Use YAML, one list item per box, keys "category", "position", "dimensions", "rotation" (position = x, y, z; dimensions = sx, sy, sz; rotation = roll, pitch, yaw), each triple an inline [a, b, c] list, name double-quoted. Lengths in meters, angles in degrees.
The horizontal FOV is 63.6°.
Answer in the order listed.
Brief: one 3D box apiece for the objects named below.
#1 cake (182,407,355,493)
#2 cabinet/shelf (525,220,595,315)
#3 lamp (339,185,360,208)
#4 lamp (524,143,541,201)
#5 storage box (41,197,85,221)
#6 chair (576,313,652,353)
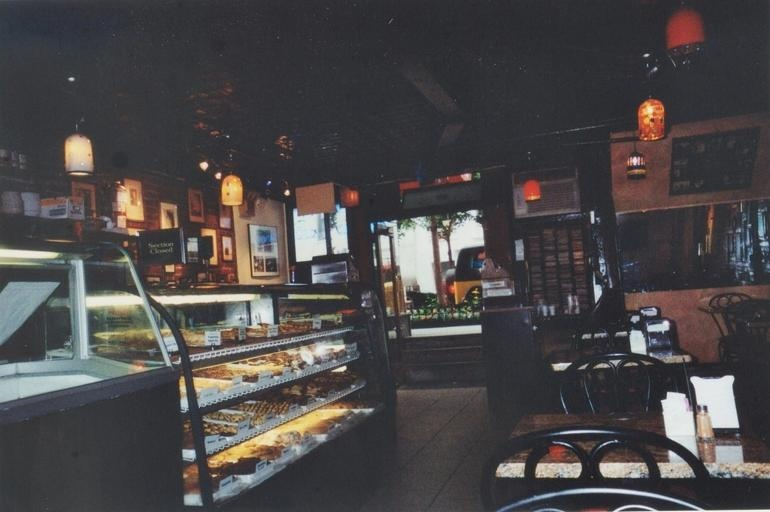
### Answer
- category: "cake"
  position: [-0.762, 1.441, 4.710]
  dimensions: [0.430, 0.305, 1.421]
  rotation: [-7, -2, 42]
- category: "cabinet/shelf"
  position: [2.903, 0.111, 10.174]
  dimensions: [1.074, 1.502, 1.117]
  rotation: [-5, 1, 0]
- category: "lamp"
  position: [-0.563, -0.905, 9.468]
  dimensions: [0.382, 0.293, 0.553]
  rotation: [-1, 2, -9]
- category: "lamp"
  position: [2.223, -1.189, 9.388]
  dimensions: [0.234, 0.751, 0.795]
  rotation: [-7, -1, 14]
- category: "storage box"
  position: [-3.439, -0.473, 6.589]
  dimensions: [0.379, 0.231, 0.272]
  rotation: [-1, -4, 16]
- category: "chair"
  position: [2.294, 0.845, 6.311]
  dimensions: [0.488, 0.506, 0.523]
  rotation: [-1, -7, 8]
